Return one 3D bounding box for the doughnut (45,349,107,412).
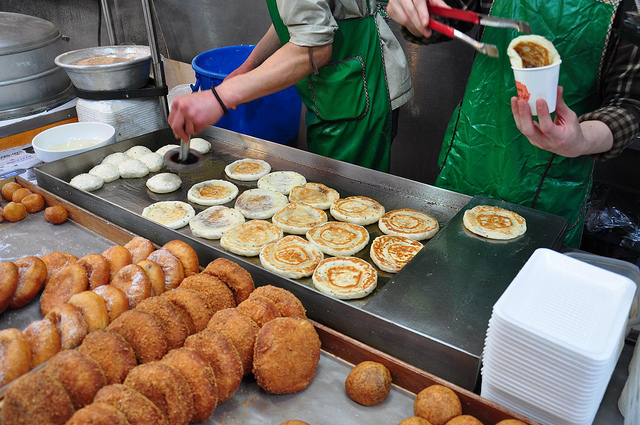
[{"bbox_3d":[-0.942,0.635,1.614,0.215,0.208,0.096,-30,4,7],"label":"doughnut"}]

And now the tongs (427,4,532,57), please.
[{"bbox_3d":[0.762,-1.036,2.278,0.818,0.271,0.094,28,0,38],"label":"tongs"}]

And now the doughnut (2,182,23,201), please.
[{"bbox_3d":[-2.312,-0.170,2.983,0.124,0.062,0.124,16,43,-11],"label":"doughnut"}]

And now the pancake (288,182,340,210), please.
[{"bbox_3d":[-0.061,-0.130,2.957,0.234,0.056,0.231,-15,41,-22],"label":"pancake"}]

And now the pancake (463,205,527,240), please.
[{"bbox_3d":[1.031,0.058,2.372,0.351,0.039,0.303,10,36,14],"label":"pancake"}]

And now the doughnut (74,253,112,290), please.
[{"bbox_3d":[-1.215,0.299,2.137,0.186,0.066,0.184,0,60,1],"label":"doughnut"}]

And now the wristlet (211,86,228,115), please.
[{"bbox_3d":[-0.698,-0.756,2.704,0.050,0.158,0.117,-29,43,-34],"label":"wristlet"}]

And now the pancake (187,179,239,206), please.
[{"bbox_3d":[-0.848,-0.101,3.046,0.314,0.065,0.325,-14,20,-31],"label":"pancake"}]

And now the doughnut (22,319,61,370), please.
[{"bbox_3d":[-1.298,0.604,1.840,0.228,0.077,0.223,-17,61,22],"label":"doughnut"}]

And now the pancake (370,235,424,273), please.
[{"bbox_3d":[0.440,0.234,2.457,0.246,0.065,0.331,26,42,33],"label":"pancake"}]

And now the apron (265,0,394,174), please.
[{"bbox_3d":[0.220,-0.952,3.269,0.744,1.332,0.415,-13,36,-17],"label":"apron"}]

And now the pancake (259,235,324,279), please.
[{"bbox_3d":[-0.203,0.269,2.426,0.340,0.066,0.330,-21,47,-37],"label":"pancake"}]

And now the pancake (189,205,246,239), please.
[{"bbox_3d":[-0.755,0.071,2.781,0.366,0.076,0.370,-5,36,-6],"label":"pancake"}]

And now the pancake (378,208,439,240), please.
[{"bbox_3d":[0.584,0.082,2.632,0.381,0.059,0.268,13,37,18],"label":"pancake"}]

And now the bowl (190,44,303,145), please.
[{"bbox_3d":[-1.000,-1.196,3.853,0.878,0.719,0.891,9,11,-2],"label":"bowl"}]

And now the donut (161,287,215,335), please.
[{"bbox_3d":[-0.625,0.470,1.888,0.079,0.217,0.215,-56,19,-19],"label":"donut"}]

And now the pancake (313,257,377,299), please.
[{"bbox_3d":[0.132,0.370,2.273,0.372,0.063,0.384,0,25,-2],"label":"pancake"}]

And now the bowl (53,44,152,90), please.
[{"bbox_3d":[-1.807,-1.254,3.438,0.635,0.244,0.637,0,23,0],"label":"bowl"}]

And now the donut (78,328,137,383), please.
[{"bbox_3d":[-0.878,0.588,1.669,0.226,0.121,0.140,23,41,30],"label":"donut"}]

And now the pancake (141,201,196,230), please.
[{"bbox_3d":[-1.063,0.008,2.839,0.332,0.072,0.288,20,39,27],"label":"pancake"}]

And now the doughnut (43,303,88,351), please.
[{"bbox_3d":[-1.170,0.533,1.837,0.189,0.063,0.191,18,75,15],"label":"doughnut"}]

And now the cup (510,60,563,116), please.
[{"bbox_3d":[1.012,-0.596,1.914,0.214,0.195,0.224,-4,22,2],"label":"cup"}]

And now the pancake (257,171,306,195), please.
[{"bbox_3d":[-0.320,-0.245,3.137,0.238,0.064,0.236,3,29,7],"label":"pancake"}]

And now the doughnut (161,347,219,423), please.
[{"bbox_3d":[-0.502,0.678,1.678,0.093,0.277,0.272,-18,56,-25],"label":"doughnut"}]

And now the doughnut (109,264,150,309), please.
[{"bbox_3d":[-0.959,0.384,2.064,0.209,0.070,0.213,-7,71,28],"label":"doughnut"}]

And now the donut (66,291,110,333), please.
[{"bbox_3d":[-1.087,0.460,1.882,0.180,0.172,0.061,26,37,38],"label":"donut"}]

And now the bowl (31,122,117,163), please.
[{"bbox_3d":[-2.090,-0.620,3.283,0.480,0.200,0.479,2,29,-1],"label":"bowl"}]

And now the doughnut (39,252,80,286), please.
[{"bbox_3d":[-1.515,0.297,2.324,0.184,0.183,0.059,-12,10,3],"label":"doughnut"}]
